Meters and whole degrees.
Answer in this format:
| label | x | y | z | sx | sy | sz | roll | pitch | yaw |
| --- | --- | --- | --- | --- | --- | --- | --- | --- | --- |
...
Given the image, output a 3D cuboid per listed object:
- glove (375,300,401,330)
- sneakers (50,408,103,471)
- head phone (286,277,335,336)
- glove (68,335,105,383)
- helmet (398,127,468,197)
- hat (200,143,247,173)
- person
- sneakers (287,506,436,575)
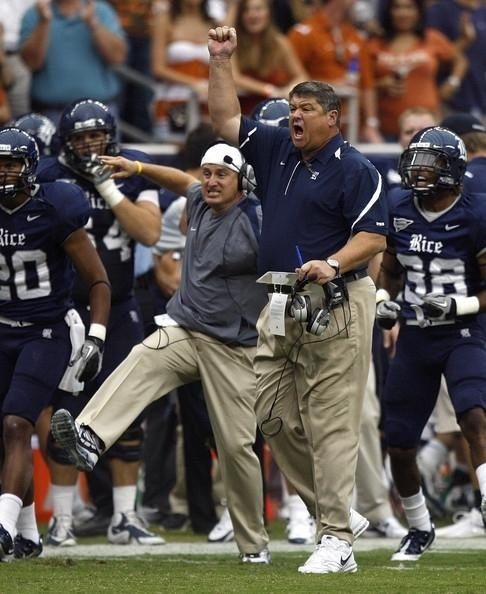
| label | x | y | z | sx | sy | sz | roll | pitch | yaw |
| --- | --- | --- | --- | --- | --- | --- | --- | --- | --- |
| glove | 0.707 | 0.085 | 4.494 | 0.108 | 0.137 | 0.068 | -7 | 2 | 36 |
| sneakers | -0.679 | 0.579 | 3.776 | 0.130 | 0.269 | 0.293 | 1 | 0 | 11 |
| head phone | 0.272 | 0.030 | 3.683 | 0.182 | 0.214 | 0.079 | 21 | -35 | -8 |
| glove | -0.691 | 0.271 | 4.049 | 0.094 | 0.197 | 0.118 | -5 | -11 | 3 |
| helmet | 0.893 | -0.633 | 4.443 | 0.269 | 0.276 | 0.358 | -4 | -3 | 34 |
| hat | -0.094 | -0.656 | 4.459 | 0.141 | 0.133 | 0.179 | 10 | 32 | 23 |
| person | 0.235 | -0.034 | 3.923 | 1.561 | 1.589 | 0.953 | 1 | 0 | 15 |
| sneakers | 0.402 | 1.039 | 3.881 | 0.154 | 0.194 | 0.485 | -11 | -13 | 38 |
